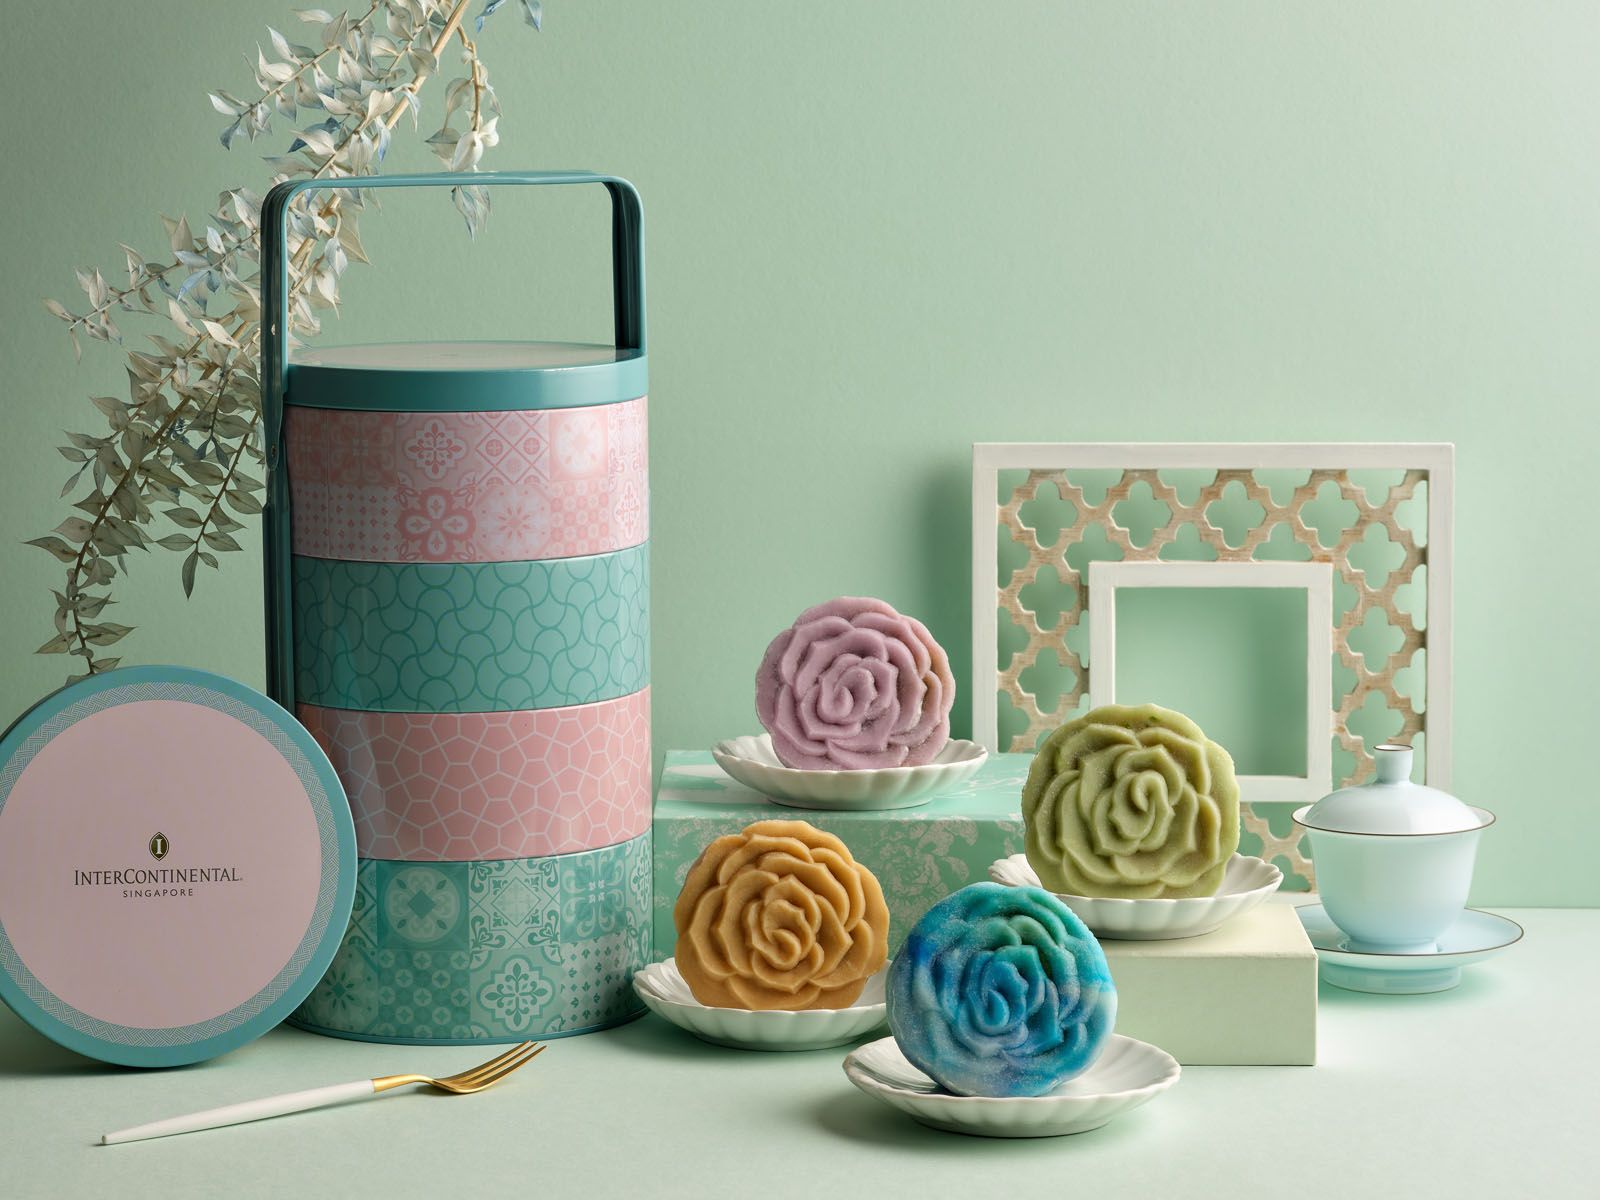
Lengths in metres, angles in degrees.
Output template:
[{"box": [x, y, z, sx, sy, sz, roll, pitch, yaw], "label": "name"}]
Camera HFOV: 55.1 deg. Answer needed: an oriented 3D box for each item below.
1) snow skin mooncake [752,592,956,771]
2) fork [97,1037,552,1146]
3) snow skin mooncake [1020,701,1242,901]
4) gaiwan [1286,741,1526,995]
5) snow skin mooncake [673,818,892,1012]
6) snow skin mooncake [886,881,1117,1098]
[{"box": [0.035, 0.083, 1.166, 0.148, 0.057, 0.158, 14, 48, 5], "label": "snow skin mooncake"}, {"box": [-0.301, 0.309, 0.955, 0.226, 0.027, 0.033, -1, 7, -29], "label": "fork"}, {"box": [0.216, 0.133, 1.015, 0.135, 0.118, 0.063, 0, 11, -1], "label": "snow skin mooncake"}, {"box": [0.443, 0.201, 1.166, 0.176, 0.172, 0.188, -1, 2, 23], "label": "gaiwan"}, {"box": [-0.014, 0.208, 1.010, 0.137, 0.116, 0.066, -1, 11, -5], "label": "snow skin mooncake"}, {"box": [0.115, 0.227, 0.832, 0.113, 0.121, 0.048, -1, -23, -1], "label": "snow skin mooncake"}]
